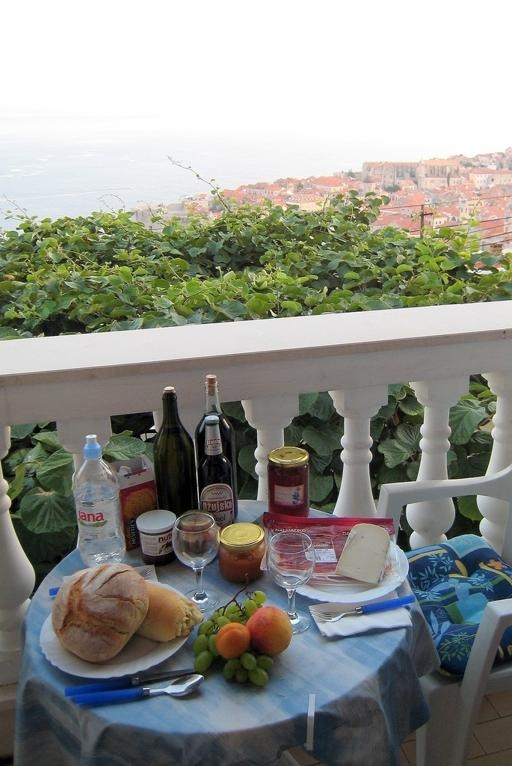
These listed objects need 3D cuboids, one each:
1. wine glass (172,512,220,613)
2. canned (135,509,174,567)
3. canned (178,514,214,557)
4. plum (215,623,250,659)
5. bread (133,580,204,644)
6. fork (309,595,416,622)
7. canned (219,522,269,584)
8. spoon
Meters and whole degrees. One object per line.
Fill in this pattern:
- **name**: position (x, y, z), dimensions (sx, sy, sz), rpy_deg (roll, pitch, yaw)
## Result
- **wine glass**: position (-0.094, 0.282, 0.895), dimensions (0.071, 0.143, 0.068), rpy_deg (-19, 34, -25)
- **canned**: position (-0.175, 0.270, 0.996), dimensions (0.069, 0.073, 0.070), rpy_deg (9, 23, 26)
- **canned**: position (-0.090, 0.230, 0.875), dimensions (0.051, 0.049, 0.051), rpy_deg (1, 8, 3)
- **plum**: position (-0.029, 0.338, 0.748), dimensions (0.028, 0.036, 0.028), rpy_deg (43, 9, 32)
- **bread**: position (-0.124, 0.330, 0.808), dimensions (0.103, 0.036, 0.051), rpy_deg (25, 27, 27)
- **fork**: position (0.162, 0.347, 0.880), dimensions (0.165, 0.023, 0.023), rpy_deg (-5, 19, -25)
- **canned**: position (-0.022, 0.289, 1.001), dimensions (0.085, 0.086, 0.087), rpy_deg (-1, 25, -2)
- **spoon**: position (-0.146, 0.389, 0.726), dimensions (0.091, 0.012, 0.021), rpy_deg (-5, 0, -12)
